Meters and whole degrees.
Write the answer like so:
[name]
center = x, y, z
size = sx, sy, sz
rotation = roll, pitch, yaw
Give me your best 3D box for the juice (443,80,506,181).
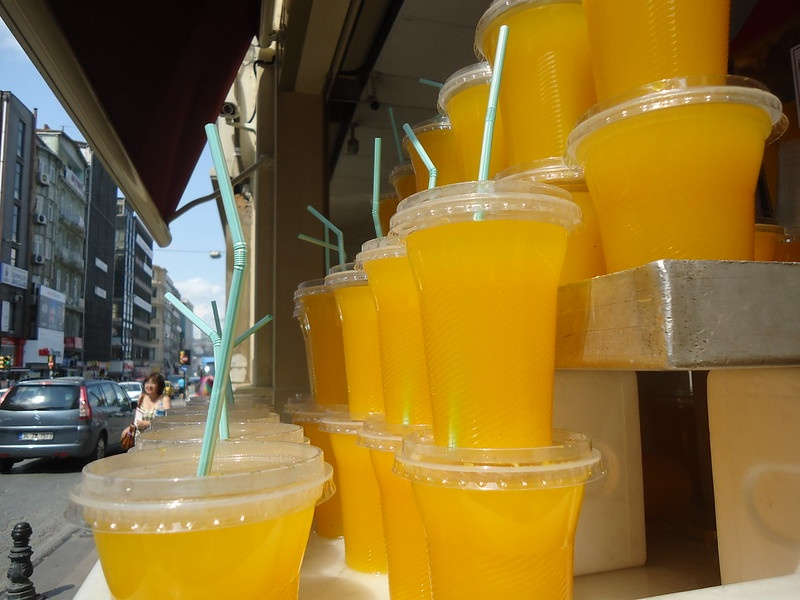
[juice]
center = 0.123, -0.302, 1.170
size = 0.158, 0.158, 0.157
rotation = -5, -4, 3
